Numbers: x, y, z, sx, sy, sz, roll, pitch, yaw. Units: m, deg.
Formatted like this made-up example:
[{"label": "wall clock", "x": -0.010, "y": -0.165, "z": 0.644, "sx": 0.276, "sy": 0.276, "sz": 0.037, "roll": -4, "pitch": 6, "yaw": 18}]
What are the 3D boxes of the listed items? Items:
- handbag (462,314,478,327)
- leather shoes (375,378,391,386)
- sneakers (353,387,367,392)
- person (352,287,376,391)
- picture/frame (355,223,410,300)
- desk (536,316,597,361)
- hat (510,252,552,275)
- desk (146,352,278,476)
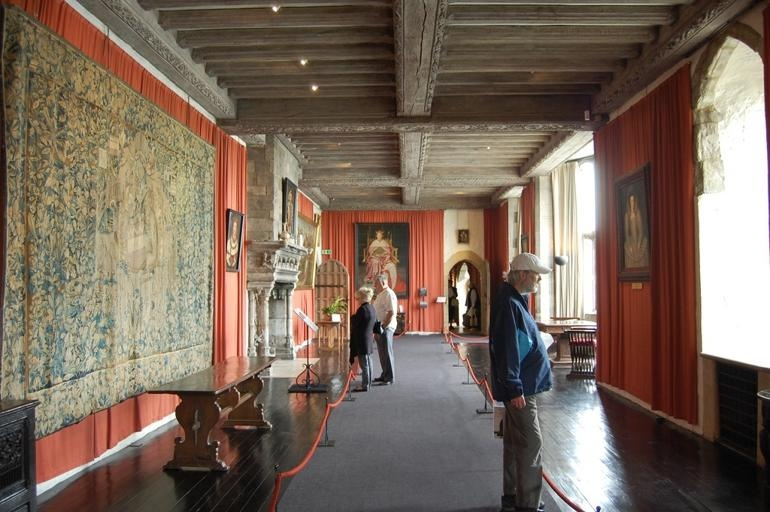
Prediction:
[{"label": "handbag", "x": 3.415, "y": 2.610, "z": 22.127, "sx": 0.511, "sy": 0.738, "sz": 0.457, "roll": -2, "pitch": -13, "yaw": 18}, {"label": "leather shoes", "x": -0.039, "y": 2.366, "z": 10.349, "sx": 0.337, "sy": 0.153, "sz": 0.119, "roll": -1, "pitch": -5, "yaw": 13}, {"label": "sneakers", "x": -0.430, "y": 2.362, "z": 9.734, "sx": 0.185, "sy": 0.078, "sz": 0.100, "roll": 16, "pitch": -23, "yaw": -41}, {"label": "person", "x": -0.378, "y": 1.485, "z": 9.986, "sx": 0.482, "sy": 1.882, "sz": 1.119, "roll": 0, "pitch": 5, "yaw": -2}, {"label": "picture/frame", "x": 0.011, "y": 0.154, "z": 18.047, "sx": 2.524, "sy": 3.537, "sz": 0.124, "roll": 0, "pitch": -4, "yaw": 0}, {"label": "desk", "x": 3.914, "y": 1.773, "z": 11.916, "sx": 1.020, "sy": 0.778, "sz": 1.215, "roll": 0, "pitch": -7, "yaw": 4}, {"label": "hat", "x": 1.559, "y": 0.088, "z": 5.796, "sx": 0.410, "sy": 0.183, "sz": 0.272, "roll": 4, "pitch": 0, "yaw": -6}, {"label": "desk", "x": -2.095, "y": 2.057, "z": 7.661, "sx": 0.816, "sy": 1.021, "sz": 2.767, "roll": 0, "pitch": -1, "yaw": 10}]
